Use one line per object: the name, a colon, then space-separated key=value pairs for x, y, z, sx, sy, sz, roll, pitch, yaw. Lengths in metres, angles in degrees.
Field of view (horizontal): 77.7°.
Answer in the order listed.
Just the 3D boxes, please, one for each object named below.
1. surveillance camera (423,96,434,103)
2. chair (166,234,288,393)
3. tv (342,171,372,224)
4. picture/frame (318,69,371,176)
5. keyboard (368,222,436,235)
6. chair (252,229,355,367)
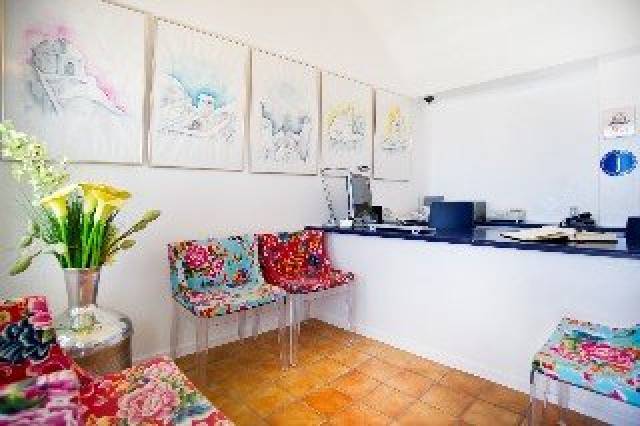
surveillance camera: x=1.529 y=-1.622 z=5.642 sx=0.140 sy=0.087 sz=0.345 roll=3 pitch=15 yaw=14
chair: x=-0.808 y=0.762 z=3.334 sx=0.776 sy=1.038 sz=0.726 roll=-5 pitch=8 yaw=-39
tv: x=0.369 y=-0.184 z=4.271 sx=0.182 sy=0.451 sz=0.517 roll=-3 pitch=1 yaw=29
picture/frame: x=0.288 y=-1.043 z=4.610 sx=0.235 sy=1.149 sz=0.914 roll=12 pitch=20 yaw=42
keyboard: x=0.755 y=0.152 z=3.749 sx=0.632 sy=0.074 sz=0.112 roll=0 pitch=2 yaw=30
chair: x=-0.170 y=0.699 z=3.751 sx=0.735 sy=1.024 sz=0.850 roll=2 pitch=5 yaw=35
